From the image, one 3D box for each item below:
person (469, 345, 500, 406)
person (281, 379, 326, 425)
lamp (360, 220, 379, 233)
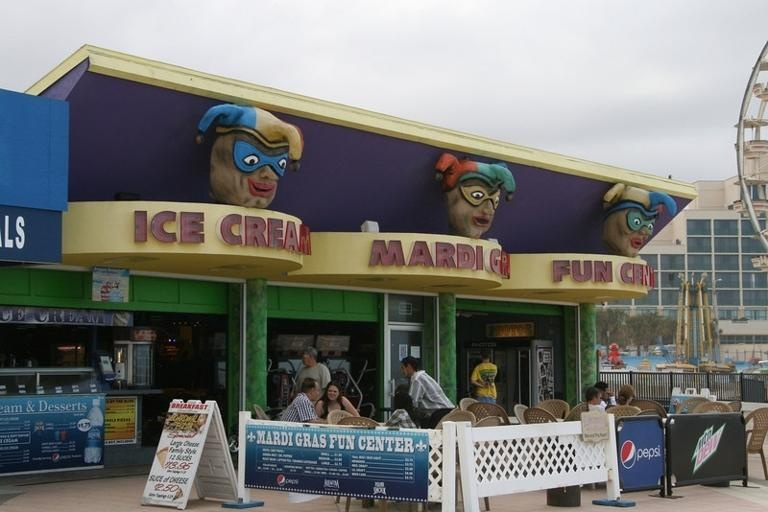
[{"bbox_3d":[2.444,3.017,22.541,0.611,1.260,1.545,-2,-9,6],"label":"person"},{"bbox_3d":[-1.452,2.591,15.987,0.648,1.131,0.729,-1,0,-7],"label":"person"},{"bbox_3d":[-0.325,-0.659,20.814,0.368,0.393,0.279,8,-18,-31],"label":"lamp"}]
